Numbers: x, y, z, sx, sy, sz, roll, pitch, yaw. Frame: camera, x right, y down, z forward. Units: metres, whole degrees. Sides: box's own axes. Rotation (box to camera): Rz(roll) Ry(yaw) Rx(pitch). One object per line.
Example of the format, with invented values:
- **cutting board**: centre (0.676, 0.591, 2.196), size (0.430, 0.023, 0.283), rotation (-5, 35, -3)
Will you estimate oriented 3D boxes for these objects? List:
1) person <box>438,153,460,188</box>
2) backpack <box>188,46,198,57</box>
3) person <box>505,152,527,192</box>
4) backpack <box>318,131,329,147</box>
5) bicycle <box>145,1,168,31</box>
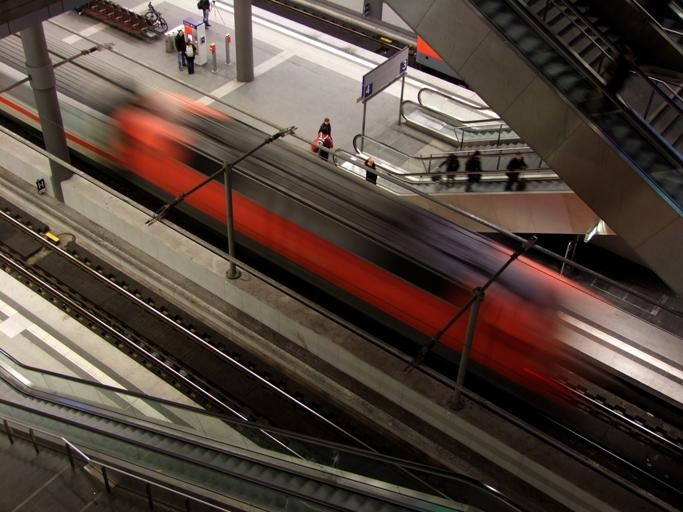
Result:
- **person**: centre (2.823, -2.301, 17.680), size (0.530, 0.903, 1.317), rotation (19, 5, 5)
- **backpack**: centre (-4.985, -6.739, 22.033), size (0.213, 0.352, 0.322), rotation (5, -35, -1)
- **person**: centre (4.388, -2.062, 16.685), size (0.570, 0.977, 0.985), rotation (19, 5, 10)
- **backpack**: centre (-0.533, -3.220, 18.350), size (0.355, 0.355, 0.608), rotation (18, 5, 1)
- **bicycle**: centre (-6.832, -8.632, 24.507), size (0.878, 0.830, 0.875), rotation (16, 5, -20)
